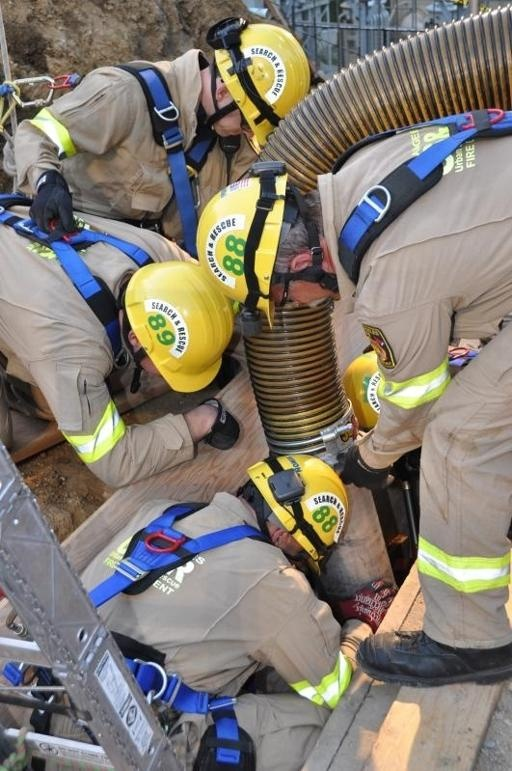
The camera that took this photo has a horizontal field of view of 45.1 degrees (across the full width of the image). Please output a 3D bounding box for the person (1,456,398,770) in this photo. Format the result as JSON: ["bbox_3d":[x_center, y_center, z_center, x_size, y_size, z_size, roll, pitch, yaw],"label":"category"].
[{"bbox_3d":[-0.264,0.982,2.653,0.928,1.003,1.186,8,7,42],"label":"person"}]

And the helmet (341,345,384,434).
[{"bbox_3d":[0.734,-0.003,3.874,0.324,0.385,0.419,-4,24,-8],"label":"helmet"}]

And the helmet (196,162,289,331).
[{"bbox_3d":[-0.017,-0.592,2.388,0.493,0.520,0.387,14,34,4],"label":"helmet"}]

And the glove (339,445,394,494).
[{"bbox_3d":[0.463,0.400,2.708,0.279,0.266,0.209,-1,64,8],"label":"glove"}]

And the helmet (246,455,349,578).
[{"bbox_3d":[0.211,0.589,2.915,0.536,0.481,0.414,14,5,-23],"label":"helmet"}]

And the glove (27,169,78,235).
[{"bbox_3d":[-1.030,-0.933,3.121,0.264,0.318,0.153,5,-12,-18],"label":"glove"}]
